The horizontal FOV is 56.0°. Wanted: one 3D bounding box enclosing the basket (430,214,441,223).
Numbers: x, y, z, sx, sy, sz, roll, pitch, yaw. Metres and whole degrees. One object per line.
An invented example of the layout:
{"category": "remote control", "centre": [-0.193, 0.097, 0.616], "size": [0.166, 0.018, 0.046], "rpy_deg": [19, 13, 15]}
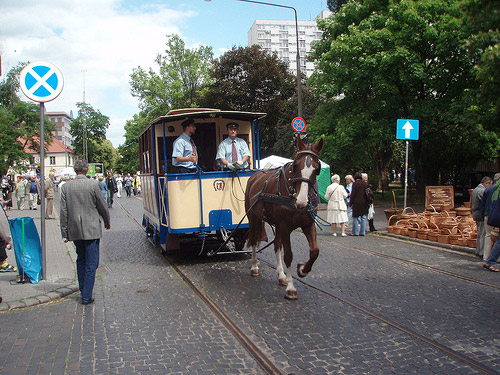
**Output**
{"category": "basket", "centre": [5.653, 0.954, 14.370], "size": [0.225, 0.186, 0.257], "rpy_deg": [-2, 3, 7]}

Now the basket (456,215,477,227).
{"category": "basket", "centre": [6.306, 1.004, 13.732], "size": [0.448, 0.168, 0.453], "rpy_deg": [0, 2, 6]}

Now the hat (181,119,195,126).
{"category": "hat", "centre": [-1.556, -1.597, 11.599], "size": [0.294, 0.134, 0.241], "rpy_deg": [-26, -13, 26]}

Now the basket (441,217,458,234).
{"category": "basket", "centre": [5.698, 1.139, 13.472], "size": [0.306, 0.466, 0.453], "rpy_deg": [-1, -2, -24]}

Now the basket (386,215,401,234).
{"category": "basket", "centre": [4.792, 1.211, 15.778], "size": [0.399, 0.563, 0.602], "rpy_deg": [0, -5, 3]}

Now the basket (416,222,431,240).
{"category": "basket", "centre": [5.154, 1.327, 14.091], "size": [0.449, 0.491, 0.337], "rpy_deg": [-3, 4, -28]}

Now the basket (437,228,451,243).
{"category": "basket", "centre": [5.490, 1.390, 13.300], "size": [0.367, 0.393, 0.281], "rpy_deg": [-2, 3, -15]}

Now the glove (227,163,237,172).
{"category": "glove", "centre": [-0.421, -0.484, 11.204], "size": [0.235, 0.185, 0.207], "rpy_deg": [-1, 6, 1]}

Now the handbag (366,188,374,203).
{"category": "handbag", "centre": [3.980, 0.212, 15.731], "size": [0.219, 0.644, 0.200], "rpy_deg": [-2, -7, 22]}

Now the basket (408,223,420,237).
{"category": "basket", "centre": [5.001, 1.327, 14.413], "size": [0.359, 0.405, 0.285], "rpy_deg": [-1, 5, -21]}

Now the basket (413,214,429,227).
{"category": "basket", "centre": [5.353, 1.025, 14.632], "size": [0.310, 0.328, 0.428], "rpy_deg": [-1, 0, -6]}

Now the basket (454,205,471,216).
{"category": "basket", "centre": [6.795, 0.772, 14.988], "size": [0.445, 0.278, 0.509], "rpy_deg": [2, 7, 26]}

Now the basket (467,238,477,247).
{"category": "basket", "centre": [5.898, 1.479, 12.458], "size": [0.241, 0.200, 0.257], "rpy_deg": [0, 5, 1]}

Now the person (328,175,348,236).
{"category": "person", "centre": [2.872, 0.600, 15.628], "size": [0.712, 2.044, 1.184], "rpy_deg": [1, 7, 11]}

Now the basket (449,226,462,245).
{"category": "basket", "centre": [5.698, 1.335, 13.080], "size": [0.286, 0.454, 0.610], "rpy_deg": [2, 7, 24]}

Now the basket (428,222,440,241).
{"category": "basket", "centre": [5.403, 1.320, 13.765], "size": [0.455, 0.503, 0.328], "rpy_deg": [-4, 6, -35]}

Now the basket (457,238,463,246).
{"category": "basket", "centre": [5.683, 1.488, 12.745], "size": [0.132, 0.144, 0.136], "rpy_deg": [-1, 6, -12]}

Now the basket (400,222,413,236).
{"category": "basket", "centre": [4.886, 1.353, 14.799], "size": [0.226, 0.322, 0.310], "rpy_deg": [5, 6, 27]}

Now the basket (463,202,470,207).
{"category": "basket", "centre": [8.266, 0.661, 17.940], "size": [0.147, 0.158, 0.155], "rpy_deg": [2, 4, 26]}

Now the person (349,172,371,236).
{"category": "person", "centre": [3.677, 0.572, 15.698], "size": [0.672, 2.030, 1.001], "rpy_deg": [1, 7, 15]}

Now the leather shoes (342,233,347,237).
{"category": "leather shoes", "centre": [3.096, 1.533, 15.432], "size": [0.152, 0.120, 0.315], "rpy_deg": [1, 7, 16]}

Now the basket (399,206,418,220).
{"category": "basket", "centre": [5.690, 0.927, 16.928], "size": [0.367, 0.488, 0.443], "rpy_deg": [-2, -1, -38]}

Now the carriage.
{"category": "carriage", "centre": [-0.378, -0.165, 11.837], "size": [2.244, 4.143, 7.738], "rpy_deg": [0, -2, -21]}
